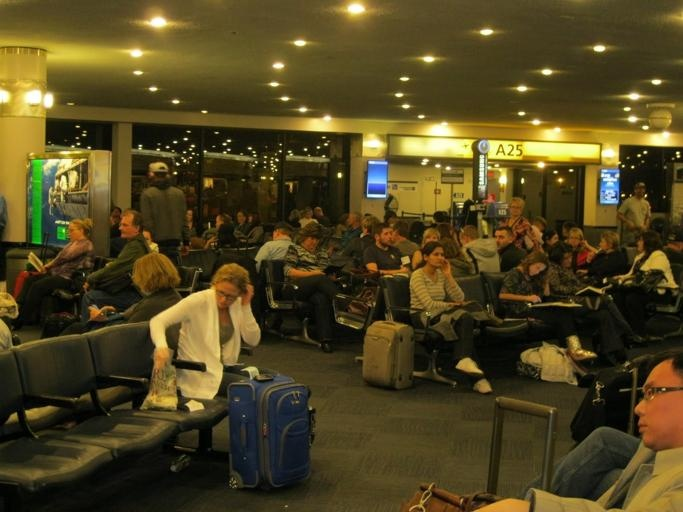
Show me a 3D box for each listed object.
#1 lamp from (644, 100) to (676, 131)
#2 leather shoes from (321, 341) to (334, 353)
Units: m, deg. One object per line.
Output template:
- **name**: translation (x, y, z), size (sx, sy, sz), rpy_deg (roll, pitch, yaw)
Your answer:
- **lamp**: translation (6.531, -2.839, 12.609), size (0.535, 0.444, 0.981), rpy_deg (5, 6, 25)
- **leather shoes**: translation (-0.111, 1.041, 7.061), size (0.170, 0.105, 0.213), rpy_deg (-1, -5, 8)
